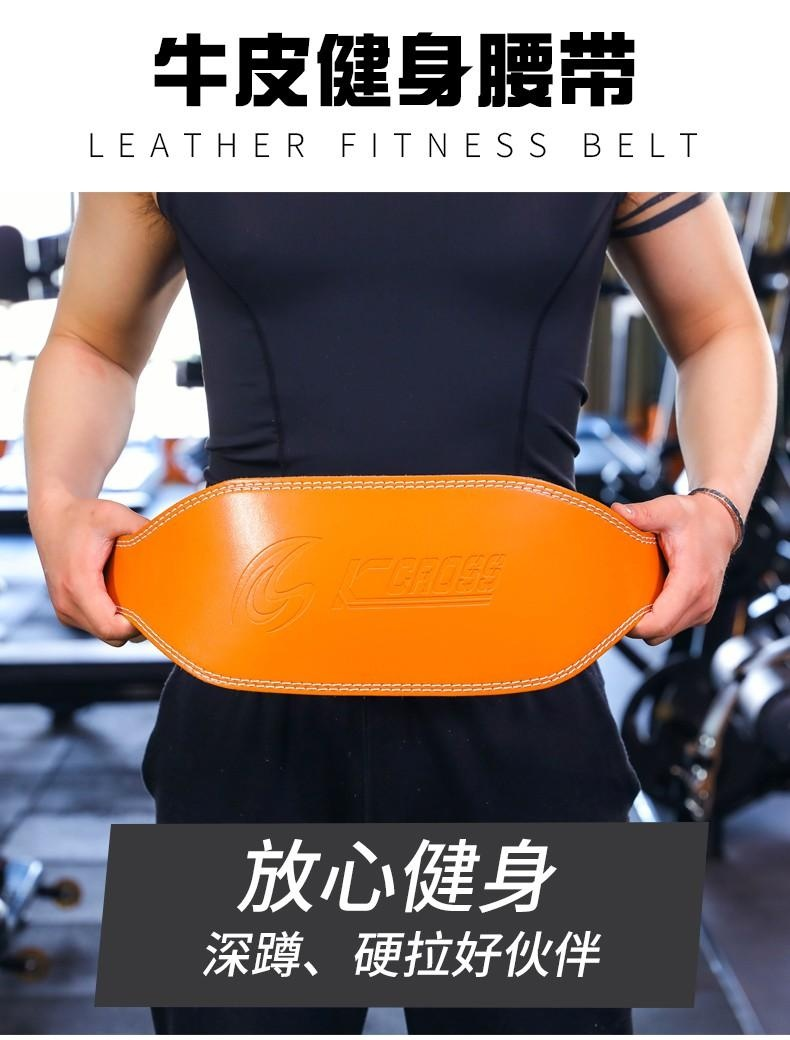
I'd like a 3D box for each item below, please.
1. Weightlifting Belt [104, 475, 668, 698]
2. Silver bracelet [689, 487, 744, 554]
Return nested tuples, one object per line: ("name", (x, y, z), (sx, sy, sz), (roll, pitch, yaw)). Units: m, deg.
("Weightlifting Belt", (-0.009, 0.046, 0.662), (0.460, 0.150, 0.023), (-1, -10, 22))
("Silver bracelet", (0.265, -0.006, 0.761), (0.015, 0.054, 0.052), (-44, 39, 5))
